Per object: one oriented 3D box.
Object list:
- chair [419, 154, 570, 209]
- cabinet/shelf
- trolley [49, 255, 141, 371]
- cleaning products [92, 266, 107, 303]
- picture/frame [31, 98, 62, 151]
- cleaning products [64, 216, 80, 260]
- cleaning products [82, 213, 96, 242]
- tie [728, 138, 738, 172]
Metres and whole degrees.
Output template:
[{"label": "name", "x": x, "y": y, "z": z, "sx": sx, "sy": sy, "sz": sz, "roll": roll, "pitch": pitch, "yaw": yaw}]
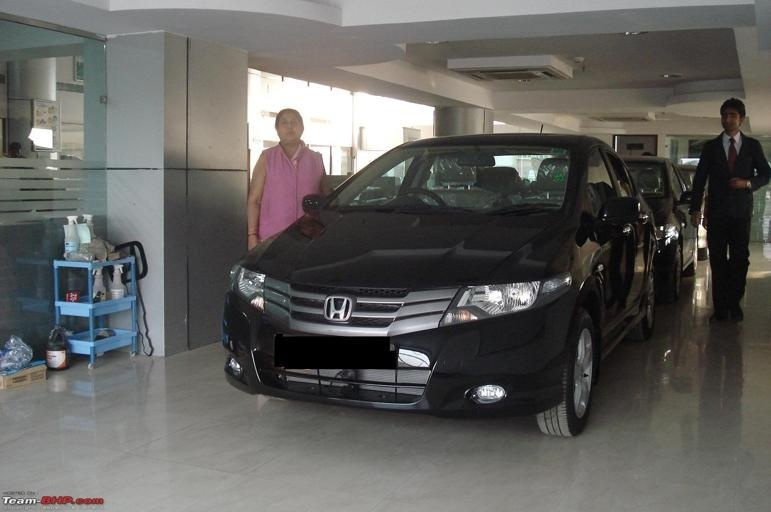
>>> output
[{"label": "chair", "x": 0.872, "y": -0.561, "z": 4.181, "sx": 0.514, "sy": 0.302, "sz": 0.714, "roll": 10, "pitch": 13, "yaw": 26}, {"label": "cabinet/shelf", "x": -2.859, "y": 0.538, "z": 5.506, "sx": 0.679, "sy": 0.998, "sz": 0.722, "roll": 0, "pitch": 2, "yaw": -7}, {"label": "trolley", "x": -2.865, "y": 0.547, "z": 5.511, "sx": 0.614, "sy": 1.001, "sz": 0.669, "roll": 1, "pitch": 3, "yaw": 4}, {"label": "cleaning products", "x": -2.770, "y": 0.278, "z": 5.382, "sx": 0.104, "sy": 0.323, "sz": 0.250, "roll": -4, "pitch": 8, "yaw": -26}, {"label": "picture/frame", "x": -3.225, "y": -1.237, "z": 5.278, "sx": 0.059, "sy": 0.461, "sz": 0.283, "roll": 3, "pitch": 8, "yaw": 23}, {"label": "cleaning products", "x": -3.038, "y": -0.166, "z": 5.364, "sx": 0.252, "sy": 0.405, "sz": 0.130, "roll": 6, "pitch": 9, "yaw": 38}, {"label": "cleaning products", "x": -2.921, "y": -0.265, "z": 5.485, "sx": 0.112, "sy": 0.260, "sz": 0.385, "roll": -4, "pitch": 9, "yaw": -28}, {"label": "tie", "x": 4.120, "y": -1.193, "z": 6.632, "sx": 0.096, "sy": 0.374, "sz": 0.069, "roll": 4, "pitch": 8, "yaw": 33}]
